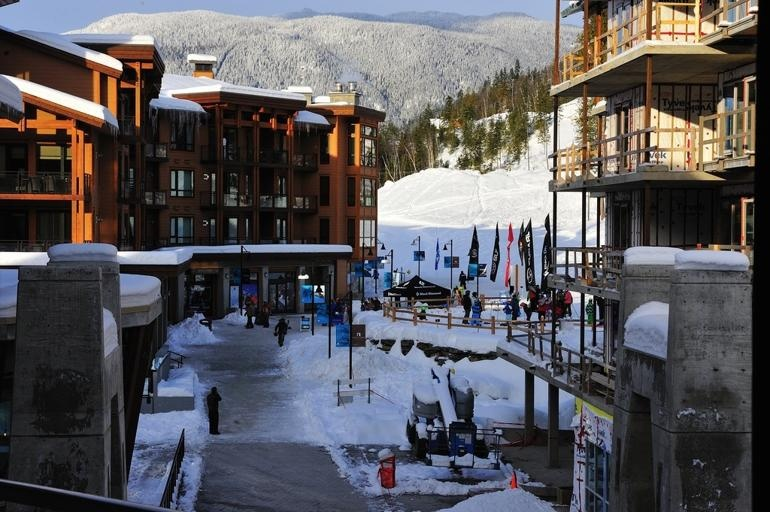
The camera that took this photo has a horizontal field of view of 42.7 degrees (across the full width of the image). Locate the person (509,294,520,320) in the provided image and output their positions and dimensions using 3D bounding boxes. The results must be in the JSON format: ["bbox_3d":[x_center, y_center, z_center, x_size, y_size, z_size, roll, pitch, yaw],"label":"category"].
[{"bbox_3d":[6.534,2.595,49.899,0.289,1.066,0.983,1,0,6],"label":"person"}]
